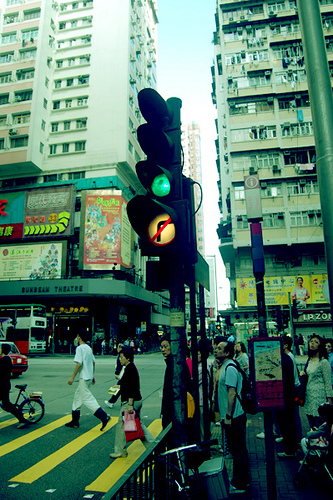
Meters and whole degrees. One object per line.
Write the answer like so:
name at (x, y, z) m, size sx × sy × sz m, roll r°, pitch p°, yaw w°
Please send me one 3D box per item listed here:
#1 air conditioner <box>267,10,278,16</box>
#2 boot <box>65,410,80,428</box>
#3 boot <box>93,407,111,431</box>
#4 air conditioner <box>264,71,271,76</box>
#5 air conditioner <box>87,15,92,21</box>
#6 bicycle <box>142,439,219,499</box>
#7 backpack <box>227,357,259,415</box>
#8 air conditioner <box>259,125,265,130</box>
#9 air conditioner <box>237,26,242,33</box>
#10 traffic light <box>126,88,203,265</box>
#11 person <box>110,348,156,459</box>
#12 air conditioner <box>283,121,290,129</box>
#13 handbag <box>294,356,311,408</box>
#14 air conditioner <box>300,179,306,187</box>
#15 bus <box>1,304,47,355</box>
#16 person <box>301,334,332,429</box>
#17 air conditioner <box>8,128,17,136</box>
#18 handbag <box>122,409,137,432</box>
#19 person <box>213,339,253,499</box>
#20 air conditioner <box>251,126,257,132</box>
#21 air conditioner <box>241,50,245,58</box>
air conditioner at (8.775, -19.507, 37.095) m, size 0.683 × 0.510 × 0.371 m, roll 0°, pitch -15°, yaw 3°
boot at (-1.673, 2.976, 7.972) m, size 0.260 × 0.327 × 0.441 m, roll 0°, pitch -10°, yaw -12°
boot at (-1.095, 2.804, 7.615) m, size 0.326 × 0.479 × 0.186 m, roll 10°, pitch 31°, yaw -4°
air conditioner at (8.064, -14.036, 35.819) m, size 0.479 × 0.308 × 0.484 m, roll -6°, pitch -11°, yaw 16°
air conditioner at (-7.651, -22.878, 44.570) m, size 0.480 × 0.488 × 0.225 m, roll -1°, pitch -11°, yaw -12°
bicycle at (0.115, 1.578, 3.349) m, size 0.367 × 0.630 × 0.386 m, roll -13°, pitch 15°, yaw 10°
backpack at (0.820, 1.554, 5.104) m, size 0.477 × 0.533 × 0.309 m, roll 39°, pitch -38°, yaw -27°
air conditioner at (7.414, -9.440, 34.760) m, size 0.374 × 0.407 × 0.290 m, roll -2°, pitch -30°, yaw -5°
air conditioner at (6.107, -18.259, 37.406) m, size 0.351 × 0.500 × 0.371 m, roll 3°, pitch 28°, yaw 15°
traffic light at (-0.051, -0.626, 3.676) m, size 0.469 × 1.472 × 0.683 m, roll 4°, pitch -12°, yaw -32°
person at (-0.486, 2.060, 6.059) m, size 0.571 × 1.440 × 1.109 m, roll -1°, pitch -10°, yaw -8°
air conditioner at (9.290, -9.631, 34.613) m, size 0.501 × 0.578 × 0.431 m, roll -4°, pitch -10°, yaw 8°
handbag at (1.858, 1.765, 6.200) m, size 0.164 × 0.595 × 0.642 m, roll 3°, pitch -49°, yaw 9°
air conditioner at (10.264, -5.032, 33.808) m, size 0.442 × 0.474 × 0.857 m, roll 0°, pitch 5°, yaw 7°
bus at (-8.817, 4.935, 28.222) m, size 4.728 × 2.699 × 1.729 m, roll -12°, pitch -15°, yaw 42°
person at (1.985, 1.692, 5.790) m, size 0.279 × 1.124 × 0.593 m, roll 0°, pitch -11°, yaw -13°
air conditioner at (-13.473, -10.326, 39.447) m, size 0.733 × 0.769 × 0.541 m, roll -1°, pitch -6°, yaw 6°
handbag at (-0.454, 2.123, 5.627) m, size 0.158 × 0.241 × 0.184 m, roll -2°, pitch -10°, yaw -6°
person at (0.735, 1.792, 4.943) m, size 0.323 × 1.545 × 0.678 m, roll -4°, pitch -11°, yaw 6°
air conditioner at (6.816, -9.328, 34.871) m, size 0.358 × 0.367 × 0.370 m, roll 2°, pitch -1°, yaw 4°
air conditioner at (6.328, -16.096, 37.085) m, size 0.457 × 0.807 × 0.483 m, roll 0°, pitch 3°, yaw 11°
